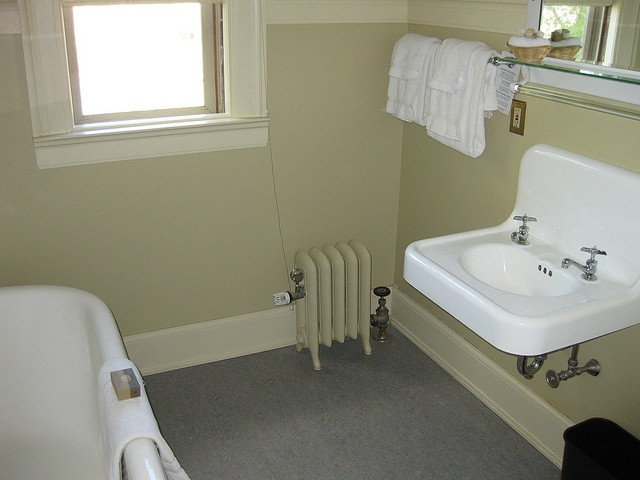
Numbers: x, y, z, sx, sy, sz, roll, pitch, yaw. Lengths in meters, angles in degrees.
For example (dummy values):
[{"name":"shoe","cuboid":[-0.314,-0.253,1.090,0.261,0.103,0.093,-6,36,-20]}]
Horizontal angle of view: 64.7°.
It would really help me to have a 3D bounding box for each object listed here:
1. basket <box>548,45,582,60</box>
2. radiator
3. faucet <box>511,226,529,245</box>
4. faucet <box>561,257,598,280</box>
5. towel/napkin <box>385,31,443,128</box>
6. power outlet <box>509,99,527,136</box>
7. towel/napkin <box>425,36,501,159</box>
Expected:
[{"name":"basket","cuboid":[0.991,-0.753,2.033,0.032,0.047,0.150,-29,21,4]},{"name":"radiator","cuboid":[0.015,0.373,2.969,0.556,0.622,0.259,-12,24,-23]},{"name":"faucet","cuboid":[0.879,-0.025,2.202,0.075,0.081,0.060,3,21,8]},{"name":"faucet","cuboid":[1.021,0.101,1.989,0.138,0.089,0.062,4,27,10]},{"name":"towel/napkin","cuboid":[0.470,-0.820,2.571,0.142,0.454,0.416,-11,24,-37]},{"name":"power outlet","cuboid":[0.930,-0.571,2.355,0.018,0.156,0.095,-14,27,-25]},{"name":"towel/napkin","cuboid":[0.669,-0.676,2.328,0.225,0.509,0.380,-17,34,-27]}]
